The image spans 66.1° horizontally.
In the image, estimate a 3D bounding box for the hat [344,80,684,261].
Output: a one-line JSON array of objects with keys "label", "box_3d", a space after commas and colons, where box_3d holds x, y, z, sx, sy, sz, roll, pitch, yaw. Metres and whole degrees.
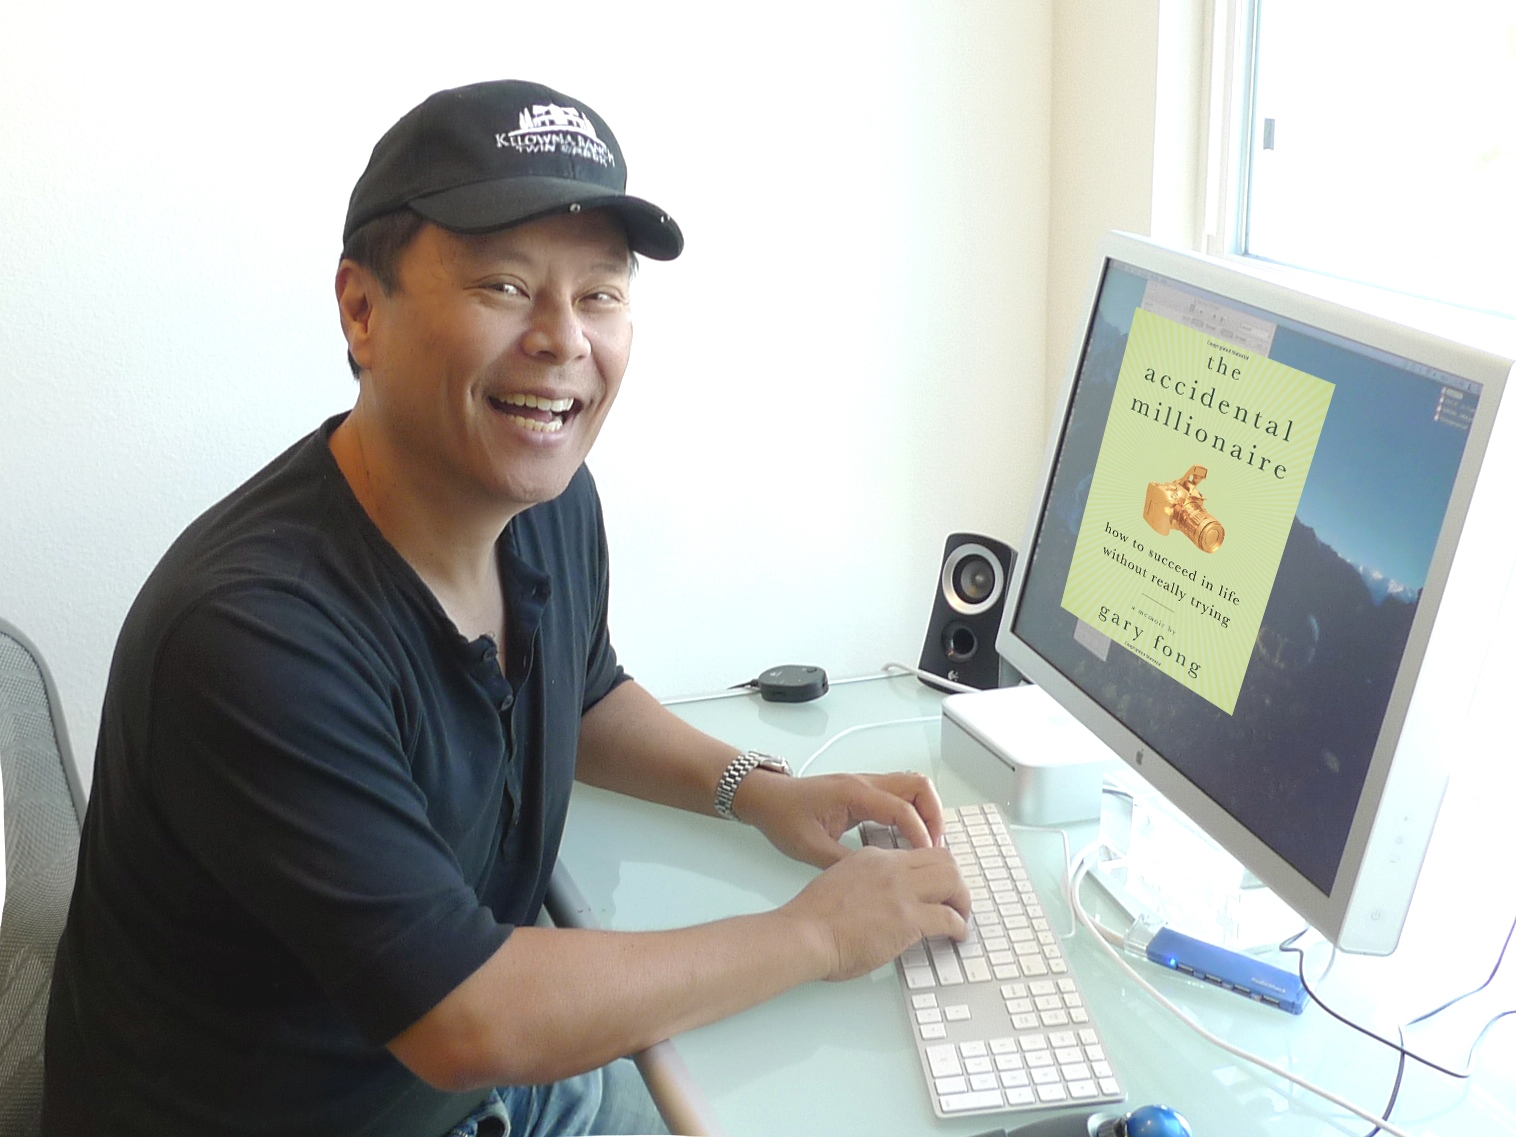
[{"label": "hat", "box_3d": [-0.251, -0.407, 1.185, 0.260, 0.190, 0.348, -8, 9, -43]}]
